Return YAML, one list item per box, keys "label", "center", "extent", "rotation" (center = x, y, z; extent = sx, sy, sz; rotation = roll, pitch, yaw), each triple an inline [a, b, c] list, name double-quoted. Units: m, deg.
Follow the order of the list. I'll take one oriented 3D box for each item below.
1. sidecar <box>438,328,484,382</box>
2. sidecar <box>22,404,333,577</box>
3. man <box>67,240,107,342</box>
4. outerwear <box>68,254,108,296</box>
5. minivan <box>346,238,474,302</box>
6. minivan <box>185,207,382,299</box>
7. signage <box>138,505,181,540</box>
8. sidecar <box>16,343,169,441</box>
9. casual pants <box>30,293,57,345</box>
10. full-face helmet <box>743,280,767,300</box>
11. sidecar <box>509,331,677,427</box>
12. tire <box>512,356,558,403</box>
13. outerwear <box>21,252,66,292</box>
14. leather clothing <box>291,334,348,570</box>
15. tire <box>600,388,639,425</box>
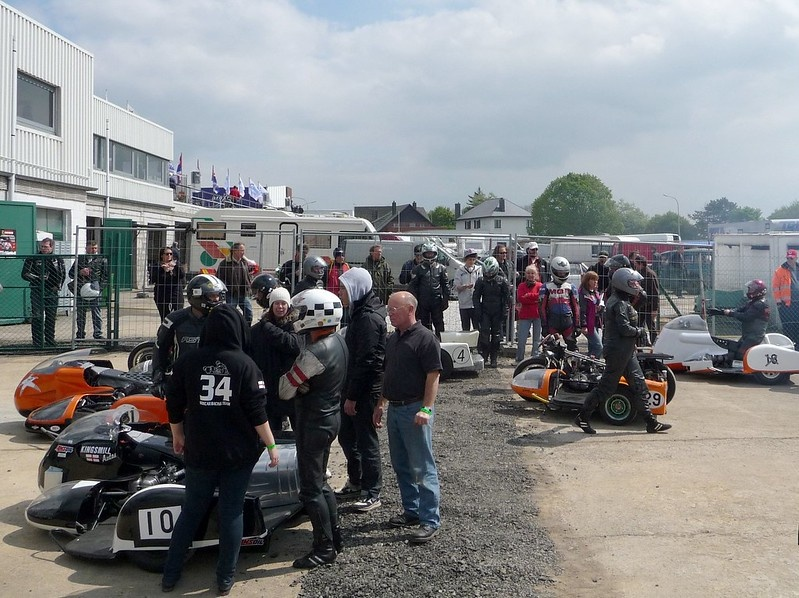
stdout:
- label: "sidecar"
  center: [1.086, 0.933, 13.093]
  extent: [0.754, 0.696, 0.771]
  rotation: [0, -2, 0]
- label: "sidecar"
  center: [-2.417, 1.914, 7.375]
  extent: [2.000, 0.788, 1.535]
  rotation: [5, 6, 17]
- label: "man"
  center: [-6.088, -0.033, 14.856]
  extent: [0.717, 1.674, 0.492]
  rotation: [-6, 13, -22]
- label: "outerwear"
  center: [-6.110, -0.449, 14.802]
  extent: [0.771, 0.808, 0.198]
  rotation: [-1, -3, -21]
- label: "minivan"
  center: [0.216, -0.852, 21.259]
  extent: [3.722, 1.880, 1.503]
  rotation: [-1, 5, -2]
- label: "minivan"
  center: [-3.490, -1.352, 20.812]
  extent: [6.282, 2.735, 2.506]
  rotation: [0, 5, -5]
- label: "signage"
  center: [-2.227, 2.081, 6.942]
  extent: [0.287, 0.206, 0.041]
  rotation: [-4, -2, 2]
- label: "sidecar"
  center: [-4.173, 1.188, 9.713]
  extent: [1.604, 0.669, 1.325]
  rotation: [4, 14, 6]
- label: "casual pants"
  center: [-7.126, 0.408, 15.092]
  extent: [0.582, 1.135, 0.188]
  rotation: [-2, 12, -3]
- label: "full-face helmet"
  center: [6.209, -0.132, 13.074]
  extent: [0.336, 0.353, 0.277]
  rotation: [5, -2, 21]
- label: "sidecar"
  center: [2.792, 1.230, 10.895]
  extent: [1.820, 0.808, 1.328]
  rotation: [4, 2, 16]
- label: "tire"
  center: [2.005, 1.202, 11.092]
  extent: [0.382, 0.564, 0.733]
  rotation: [0, -3, -39]
- label: "outerwear"
  center: [-7.147, -0.520, 15.114]
  extent: [0.727, 0.809, 0.449]
  rotation: [-1, -6, -14]
- label: "leather clothing"
  center: [-0.759, 1.429, 7.137]
  extent: [0.423, 2.080, 0.731]
  rotation: [0, 12, 8]
- label: "tire"
  center: [3.051, 1.475, 10.373]
  extent: [0.386, 0.393, 0.139]
  rotation: [43, 20, 25]
